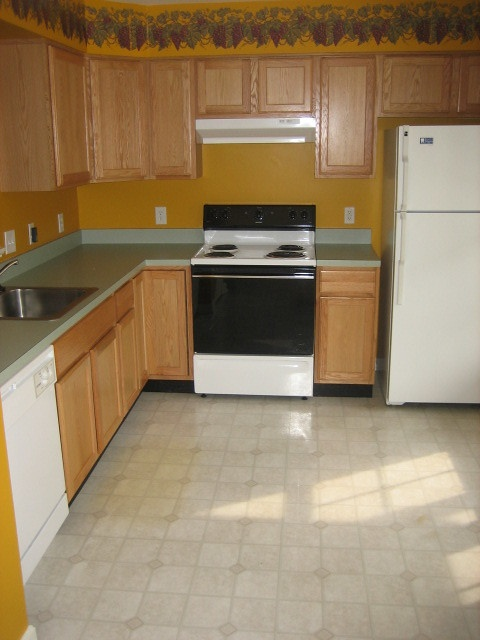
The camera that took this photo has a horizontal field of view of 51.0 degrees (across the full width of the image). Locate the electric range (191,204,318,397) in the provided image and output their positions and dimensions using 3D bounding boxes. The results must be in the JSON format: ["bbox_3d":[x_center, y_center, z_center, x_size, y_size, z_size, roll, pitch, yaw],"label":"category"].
[{"bbox_3d":[0.117,-0.192,3.448,0.855,1.232,0.738,4,19,14],"label":"electric range"}]
